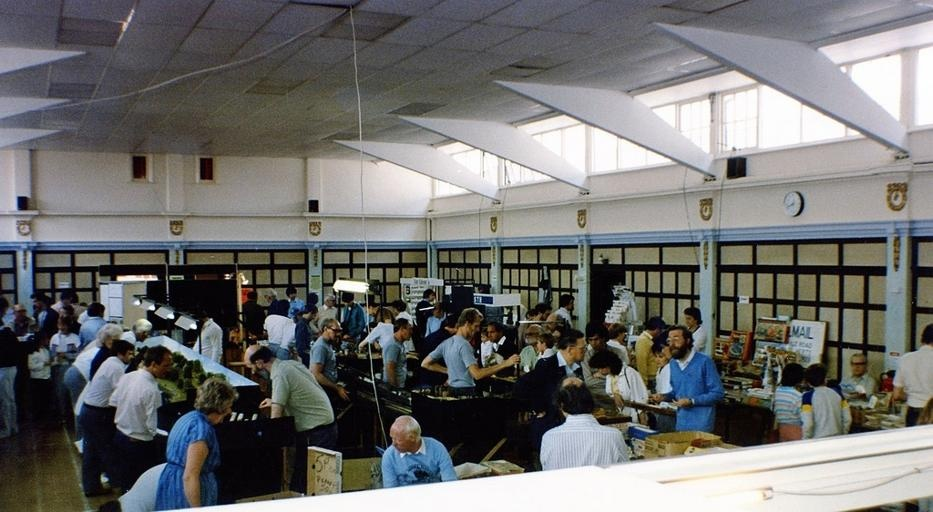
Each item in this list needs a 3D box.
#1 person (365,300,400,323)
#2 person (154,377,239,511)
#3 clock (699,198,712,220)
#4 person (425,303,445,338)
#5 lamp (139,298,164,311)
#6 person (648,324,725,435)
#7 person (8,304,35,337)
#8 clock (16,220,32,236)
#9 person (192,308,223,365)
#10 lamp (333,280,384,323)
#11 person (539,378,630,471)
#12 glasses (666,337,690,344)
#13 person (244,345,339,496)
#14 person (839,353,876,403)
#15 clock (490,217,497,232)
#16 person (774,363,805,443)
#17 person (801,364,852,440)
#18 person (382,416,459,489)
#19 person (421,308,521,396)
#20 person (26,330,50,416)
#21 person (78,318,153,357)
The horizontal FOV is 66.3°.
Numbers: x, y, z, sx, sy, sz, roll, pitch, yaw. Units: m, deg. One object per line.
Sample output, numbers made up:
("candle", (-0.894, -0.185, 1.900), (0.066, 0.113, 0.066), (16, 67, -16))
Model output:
("person", (-2.001, 1.317, 16.820), (1.009, 0.537, 1.446), (1, -3, -12))
("person", (-3.670, 2.630, 9.752), (0.992, 2.342, 1.030), (-7, 33, -39))
("clock", (5.251, -1.033, 15.630), (0.072, 0.495, 0.328), (4, -6, -38))
("person", (-0.665, 1.583, 16.062), (0.363, 0.207, 0.827), (11, -39, -25))
("lamp", (-5.901, 0.926, 13.436), (0.404, 0.115, 0.251), (16, -22, 28))
("person", (3.371, 1.902, 11.086), (0.643, 1.627, 0.984), (3, -5, -26))
("person", (-9.911, 1.442, 15.895), (0.705, 0.721, 0.464), (-6, -1, -35))
("clock", (-11.932, -0.777, 19.232), (0.486, 0.396, 0.107), (-1, 3, -31))
("person", (-5.052, 1.590, 14.020), (0.471, 1.010, 2.428), (2, -5, -20))
("lamp", (-2.243, 1.095, 14.596), (1.104, 1.205, 0.783), (1, -5, -21))
("person", (1.515, 2.171, 9.250), (1.077, 1.158, 0.259), (0, -5, 8))
("glasses", (3.255, 1.285, 10.950), (0.203, 0.073, 0.225), (-5, -10, 28))
("person", (-2.644, 2.451, 10.896), (1.300, 2.179, 0.451), (1, -5, -12))
("person", (7.094, 2.262, 13.009), (0.744, 0.889, 0.668), (5, -7, -24))
("clock", (0.801, -0.938, 20.866), (0.078, 0.433, 0.362), (4, -6, -33))
("person", (5.049, 2.296, 11.234), (0.433, 1.234, 0.578), (-2, -5, 22))
("person", (5.489, 2.196, 10.935), (0.768, 1.087, 0.285), (2, -5, -17))
("person", (-0.640, 2.669, 9.536), (0.996, 1.005, 0.534), (-11, -3, 9))
("person", (0.089, 1.627, 12.208), (1.061, 1.449, 0.475), (0, -5, 6))
("person", (-8.527, 2.405, 14.269), (0.416, 1.727, 0.736), (3, -6, -29))
("person", (-6.188, 1.451, 12.577), (1.086, 0.369, 0.355), (-17, 29, -18))
